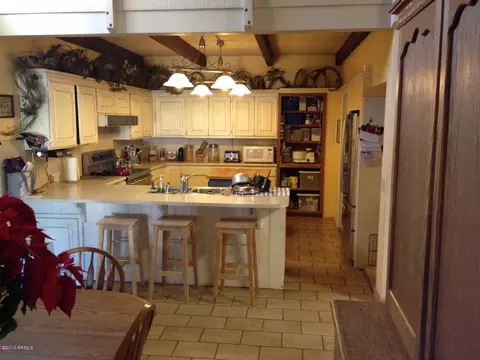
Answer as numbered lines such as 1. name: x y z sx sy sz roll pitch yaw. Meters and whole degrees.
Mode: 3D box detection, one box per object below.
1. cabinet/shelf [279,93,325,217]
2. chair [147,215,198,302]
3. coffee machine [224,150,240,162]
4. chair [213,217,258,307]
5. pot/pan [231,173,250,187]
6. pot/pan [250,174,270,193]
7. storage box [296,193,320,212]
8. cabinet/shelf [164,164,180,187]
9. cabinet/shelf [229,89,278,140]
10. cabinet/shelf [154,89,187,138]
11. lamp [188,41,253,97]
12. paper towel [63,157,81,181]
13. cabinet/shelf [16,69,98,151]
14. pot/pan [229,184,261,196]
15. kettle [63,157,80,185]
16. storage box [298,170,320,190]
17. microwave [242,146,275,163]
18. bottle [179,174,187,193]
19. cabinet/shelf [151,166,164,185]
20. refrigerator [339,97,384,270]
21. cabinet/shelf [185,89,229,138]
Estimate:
1. cabinet/shelf: 1.088 -0.349 7.063 0.936 2.345 0.502 1 -15 12
2. chair: -0.695 0.774 4.144 0.495 0.822 0.580 0 11 -3
3. coffee machine: -0.155 -0.451 7.330 0.228 0.161 0.229 4 4 34
4. chair: -0.038 0.797 4.072 0.463 0.820 0.570 0 11 1
5. pot/pan: 0.003 -0.010 4.486 0.160 0.099 0.157 -2 8 -6
6. pot/pan: 0.228 0.029 4.470 0.160 0.129 0.216 32 -15 -27
7. storage box: 1.241 0.409 7.198 0.517 0.367 0.295 1 6 6
8. cabinet/shelf: -1.225 -0.085 7.160 0.299 0.355 0.187 -2 11 -11
9. cabinet/shelf: 0.249 -1.187 6.890 0.911 0.810 0.351 1 5 9
10. cabinet/shelf: -1.309 -1.213 7.448 0.667 0.885 0.468 -1 10 -6
11. lamp: -0.205 -1.289 4.363 0.556 0.507 0.529 -6 16 -38
12. paper towel: -2.211 -0.150 5.154 0.171 0.319 0.333 -7 13 -31
13. cabinet/shelf: -2.134 -0.817 4.528 0.343 0.854 1.042 2 7 3
14. pot/pan: 0.055 0.097 4.393 0.324 0.100 0.209 1 11 5
15. kettle: -2.215 -0.128 5.089 0.242 0.322 0.227 -2 -3 10
16. storage box: 1.262 -0.006 7.227 0.350 0.250 0.343 0 2 3
17. microwave: 0.343 -0.465 7.261 0.468 0.232 0.319 0 4 4
18. bottle: -0.641 0.040 4.535 0.078 0.165 0.215 -1 11 -8
19. cabinet/shelf: -1.340 -0.081 6.331 0.208 0.274 0.301 1 8 8
20. refrigerator: 1.509 0.009 4.985 0.413 2.046 0.965 2 11 10
21. cabinet/shelf: -0.618 -1.191 7.283 0.851 0.766 0.308 -4 11 -22
